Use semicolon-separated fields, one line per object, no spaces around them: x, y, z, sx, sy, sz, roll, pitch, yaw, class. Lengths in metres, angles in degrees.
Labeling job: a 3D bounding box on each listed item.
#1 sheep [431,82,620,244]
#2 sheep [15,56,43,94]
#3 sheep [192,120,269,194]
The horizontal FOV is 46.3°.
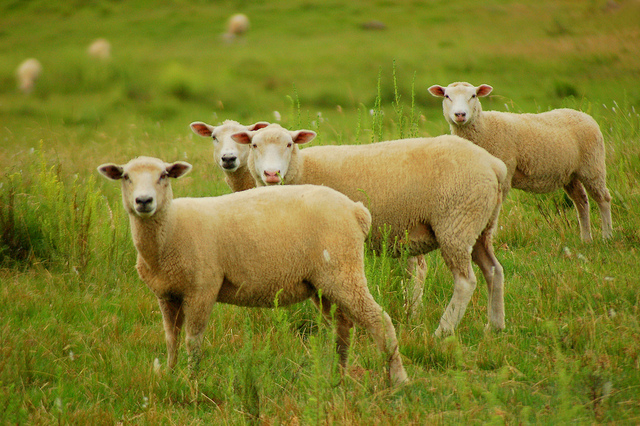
3.030;-0.643;11.232;2.825;2.146;1.267;4;5;-15;sheep
-5.331;-2.507;13.717;0.517;0.609;0.478;-17;29;-26;sheep
-1.238;-0.740;11.123;0.881;1.488;2.053;-5;13;0;sheep
